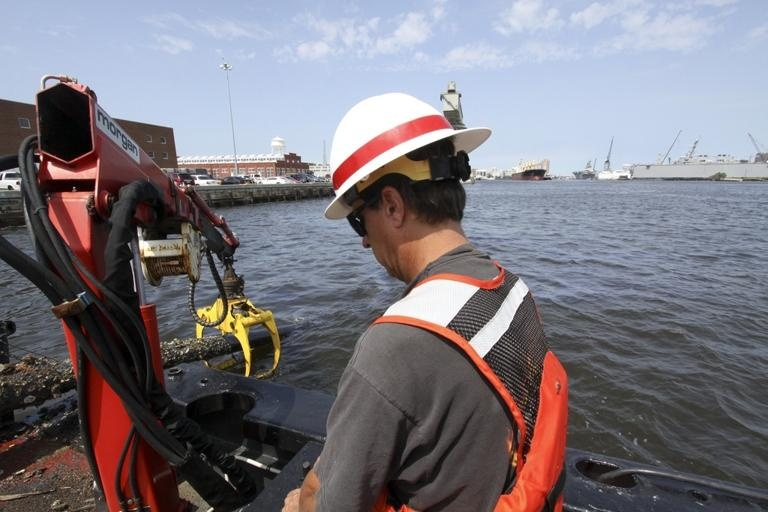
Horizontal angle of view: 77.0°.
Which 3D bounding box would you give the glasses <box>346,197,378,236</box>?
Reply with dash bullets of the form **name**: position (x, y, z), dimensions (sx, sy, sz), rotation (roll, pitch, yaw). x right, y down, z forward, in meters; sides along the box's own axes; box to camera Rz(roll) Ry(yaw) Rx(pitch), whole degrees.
- **glasses**: position (-0.149, -0.254, 3.168), dimensions (0.225, 0.232, 0.171), rotation (19, 5, 25)
